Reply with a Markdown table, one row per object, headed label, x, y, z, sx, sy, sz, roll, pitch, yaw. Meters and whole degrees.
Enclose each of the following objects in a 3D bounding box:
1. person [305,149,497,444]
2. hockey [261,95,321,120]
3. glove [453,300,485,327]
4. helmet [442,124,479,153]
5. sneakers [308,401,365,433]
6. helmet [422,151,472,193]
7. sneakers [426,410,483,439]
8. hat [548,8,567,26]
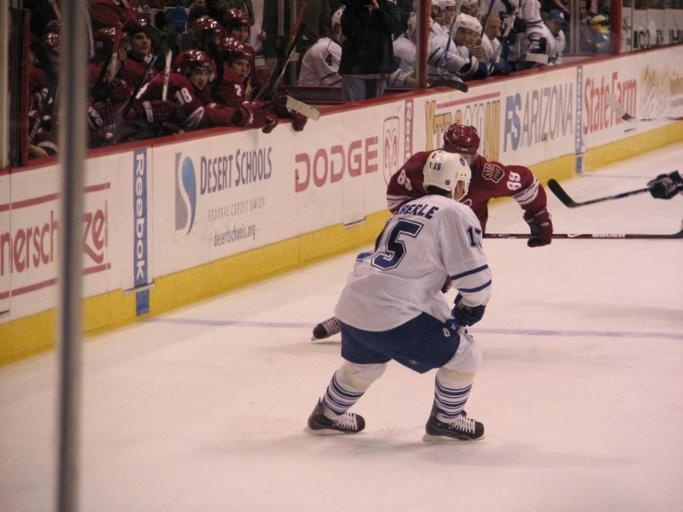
| label | x | y | z | sx | sy | sz | roll | pitch | yaw |
| --- | --- | --- | --- | --- | --- | --- | --- | --- | --- |
| person | 0.286 | 0.228 | 4.166 | 0.783 | 1.359 | 0.457 | -1 | 10 | 1 |
| hockey | -0.364 | -1.161 | 7.062 | 0.268 | 0.068 | 0.257 | 12 | -1 | 45 |
| glove | 0.569 | 0.266 | 4.065 | 0.133 | 0.119 | 0.101 | -31 | 6 | 8 |
| helmet | 0.717 | -0.673 | 5.398 | 0.176 | 0.197 | 0.200 | 8 | 32 | 1 |
| sneakers | -0.020 | 0.811 | 4.366 | 0.352 | 0.207 | 0.119 | -1 | 55 | -5 |
| helmet | 0.494 | -0.396 | 4.328 | 0.182 | 0.203 | 0.228 | 14 | 4 | 33 |
| sneakers | 0.500 | 0.826 | 4.275 | 0.336 | 0.136 | 0.105 | -2 | 39 | -10 |
| hat | 2.862 | -3.145 | 11.822 | 0.245 | 0.136 | 0.181 | 33 | 31 | 13 |
